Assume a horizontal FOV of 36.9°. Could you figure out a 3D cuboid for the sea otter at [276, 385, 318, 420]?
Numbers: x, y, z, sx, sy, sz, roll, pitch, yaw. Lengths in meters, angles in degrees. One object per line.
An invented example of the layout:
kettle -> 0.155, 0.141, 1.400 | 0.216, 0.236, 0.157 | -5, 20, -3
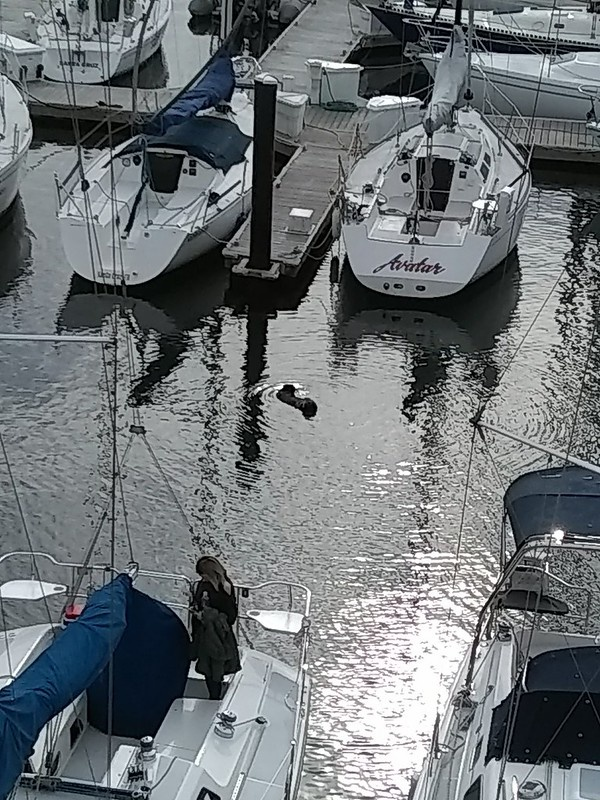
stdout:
sea otter -> -0.019, 0.021, 11.767 | 0.324, 0.226, 0.552 | -22, 42, -36
